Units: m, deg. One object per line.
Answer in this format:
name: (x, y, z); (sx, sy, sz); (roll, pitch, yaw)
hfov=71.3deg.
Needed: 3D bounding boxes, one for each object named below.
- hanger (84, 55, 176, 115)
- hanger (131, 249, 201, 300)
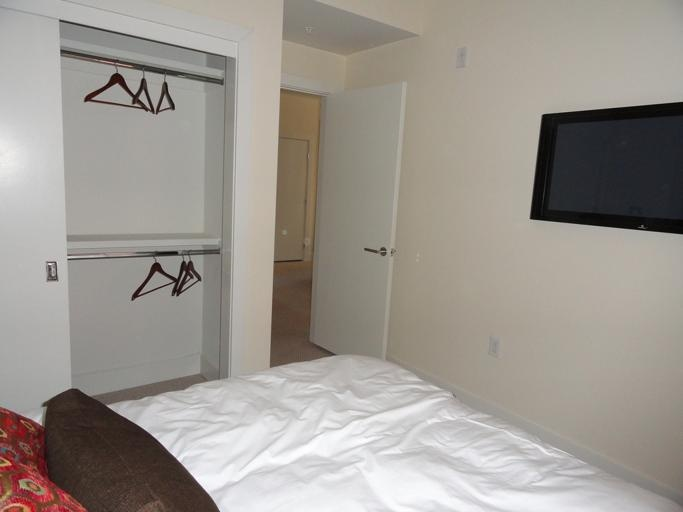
hanger: (-1.498, -1.182, 3.420); (0.604, 0.315, 0.405); (8, 10, -22)
hanger: (-1.329, 0.140, 3.679); (0.301, 0.229, 0.478); (4, 9, 31)
